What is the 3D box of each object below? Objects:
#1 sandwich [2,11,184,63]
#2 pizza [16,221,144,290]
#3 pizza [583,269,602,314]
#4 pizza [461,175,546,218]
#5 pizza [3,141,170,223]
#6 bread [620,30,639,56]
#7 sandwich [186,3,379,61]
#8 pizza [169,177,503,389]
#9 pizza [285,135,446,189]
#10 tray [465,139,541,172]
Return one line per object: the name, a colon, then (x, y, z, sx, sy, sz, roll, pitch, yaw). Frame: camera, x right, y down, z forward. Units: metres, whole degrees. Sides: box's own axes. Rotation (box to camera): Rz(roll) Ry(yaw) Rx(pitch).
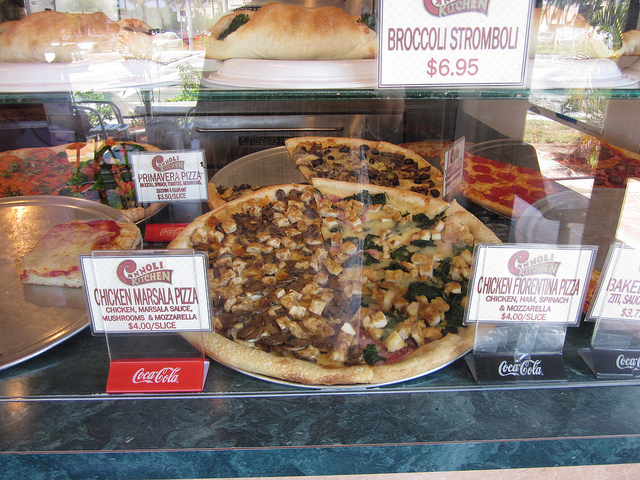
sandwich: (-0.611, -0.534, 1.159, 0.344, 0.053, 0.197, -4, 16, -17)
pizza: (-0.775, 0.057, 1.407, 0.370, 0.060, 0.281, 2, 27, 1)
pizza: (0.738, 0.141, 1.187, 0.014, 0.121, 0.120, 17, 31, 32)
pizza: (0.707, -0.177, 1.671, 0.228, 0.026, 0.234, 21, 38, 32)
pizza: (-0.939, -0.227, 1.829, 0.646, 0.047, 0.509, -6, 25, -19)
bread: (0.809, -0.510, 1.128, 0.037, 0.062, 0.040, -15, 30, -22)
sandwich: (-0.078, -0.547, 1.173, 0.445, 0.069, 0.250, 2, 17, 2)
pizza: (0.045, 0.054, 1.438, 0.982, 0.335, 1.011, 7, 22, 20)
pizza: (0.118, -0.331, 2.010, 0.465, 0.068, 0.715, 11, -7, -34)
tray: (0.765, -0.350, 1.830, 0.263, 0.023, 0.170, -1, 35, -9)
